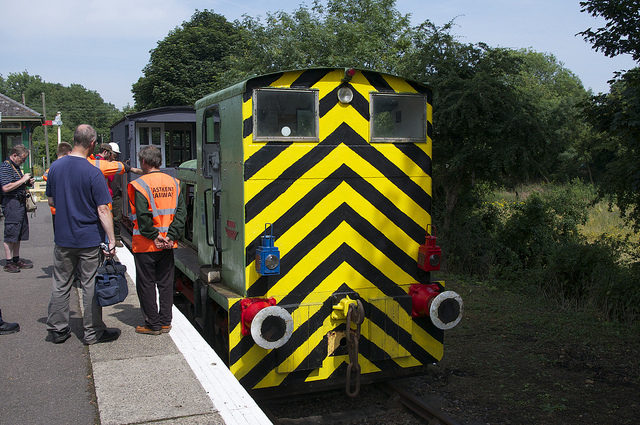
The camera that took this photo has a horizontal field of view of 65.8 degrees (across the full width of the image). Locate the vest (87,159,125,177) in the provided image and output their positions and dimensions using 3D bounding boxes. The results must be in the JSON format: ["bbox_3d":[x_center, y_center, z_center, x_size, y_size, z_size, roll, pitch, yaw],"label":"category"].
[{"bbox_3d":[-3.568,-0.777,8.337,0.424,0.192,0.348,-1,8,-31],"label":"vest"}]

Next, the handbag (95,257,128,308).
[{"bbox_3d":[-2.901,0.923,6.885,0.430,0.663,0.358,-5,4,-16],"label":"handbag"}]

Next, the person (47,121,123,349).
[{"bbox_3d":[-3.286,0.334,6.751,0.944,2.993,0.670,1,11,-2],"label":"person"}]

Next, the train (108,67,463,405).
[{"bbox_3d":[-0.206,0.372,7.051,4.326,4.717,2.396,6,12,22],"label":"train"}]
